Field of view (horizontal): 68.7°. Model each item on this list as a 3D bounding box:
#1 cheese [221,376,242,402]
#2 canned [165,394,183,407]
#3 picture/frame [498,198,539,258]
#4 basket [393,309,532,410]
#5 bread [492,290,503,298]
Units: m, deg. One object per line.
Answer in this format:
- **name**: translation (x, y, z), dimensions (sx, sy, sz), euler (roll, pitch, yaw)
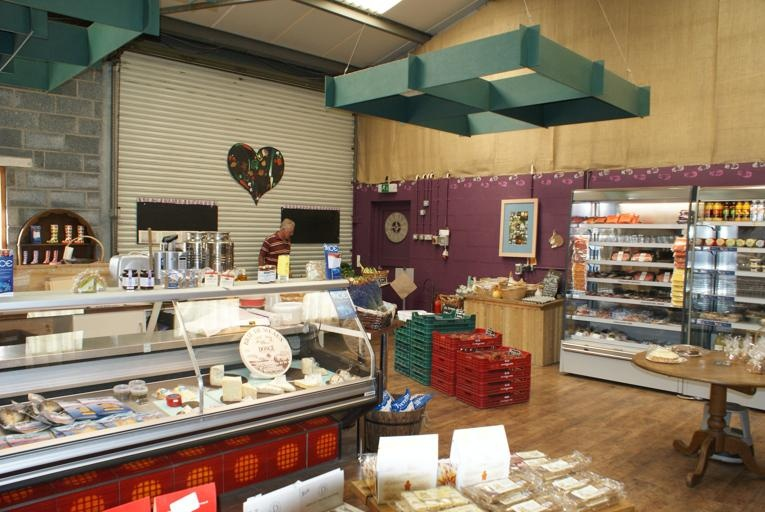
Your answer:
- **cheese**: translation (-1.229, 1.085, 4.576), dimensions (0.236, 0.158, 0.196), euler (0, -2, 6)
- **canned**: translation (-1.653, 1.144, 4.436), dimensions (0.114, 0.059, 0.099), euler (0, 3, -19)
- **picture/frame**: translation (2.311, -0.478, 9.565), dimensions (0.158, 1.021, 0.717), euler (-7, 6, -39)
- **basket**: translation (1.052, 1.334, 7.598), dimensions (0.777, 1.058, 1.623), euler (-5, 5, -36)
- **bread**: translation (1.867, 0.610, 9.063), dimensions (0.180, 0.087, 0.151), euler (1, 1, 0)
